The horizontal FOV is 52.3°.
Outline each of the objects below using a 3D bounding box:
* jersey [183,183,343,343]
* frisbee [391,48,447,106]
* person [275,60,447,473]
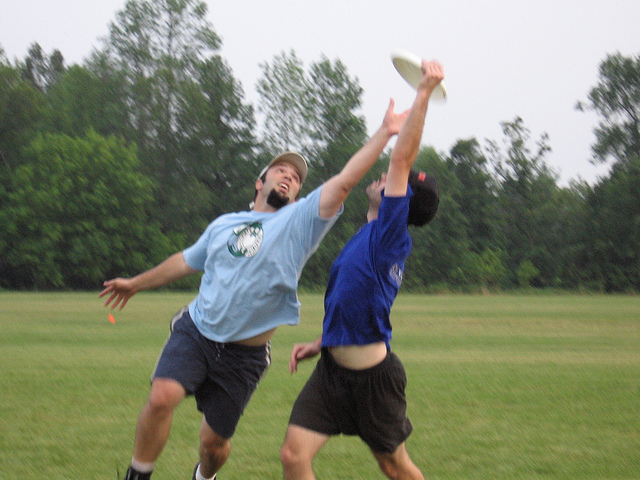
[{"bbox_3d":[-0.770,0.344,7.156,2.495,1.659,0.666,-10,-25,21],"label":"jersey"},{"bbox_3d":[0.949,-1.640,6.591,0.526,0.544,0.489,1,-4,35],"label":"frisbee"},{"bbox_3d":[0.455,0.275,6.445,1.310,4.045,0.702,2,-3,10],"label":"person"}]
